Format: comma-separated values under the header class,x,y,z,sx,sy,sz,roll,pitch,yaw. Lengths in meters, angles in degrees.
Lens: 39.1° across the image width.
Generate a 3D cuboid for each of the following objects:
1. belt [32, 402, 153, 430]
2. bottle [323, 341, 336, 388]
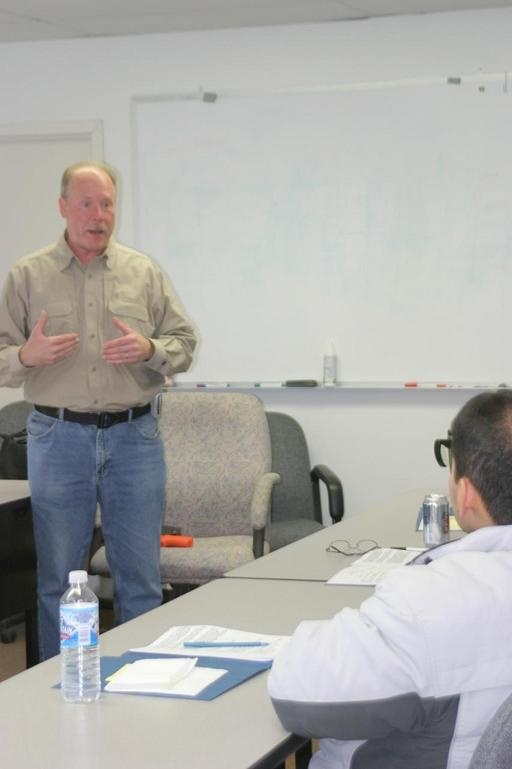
class,x,y,z,sx,sy,sz,roll,pitch,yaw
belt,-0.461,0.094,2.086,0.331,0.072,0.101,-2,-2,-15
bottle,0.379,-0.095,3.724,0.085,0.152,0.089,-3,-2,0
